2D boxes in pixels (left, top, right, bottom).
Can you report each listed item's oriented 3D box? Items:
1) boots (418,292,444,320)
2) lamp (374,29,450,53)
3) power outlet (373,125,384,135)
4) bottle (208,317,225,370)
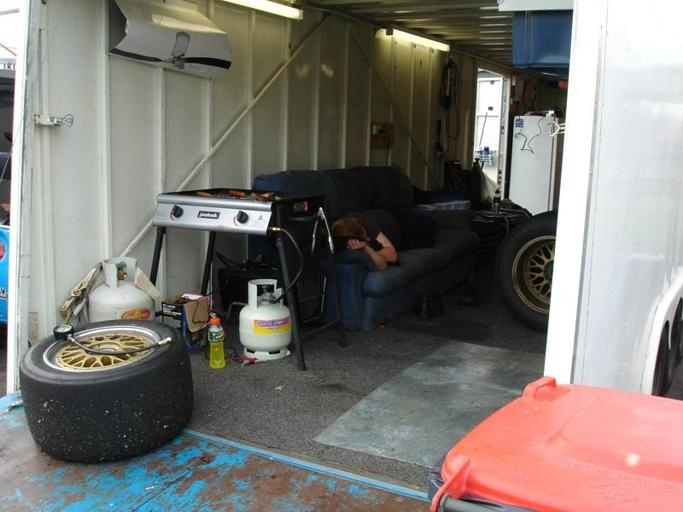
[{"bbox_3d":[0.836,0.438,4.853,0.319,0.209,0.163,-4,13,-22],"label":"boots"},{"bbox_3d":[1.001,-2.945,7.369,0.397,0.134,1.705,8,14,31],"label":"lamp"},{"bbox_3d":[0.484,-1.668,7.090,0.106,0.155,0.111,1,6,-29],"label":"power outlet"},{"bbox_3d":[-0.850,0.562,3.654,0.108,0.355,0.200,-2,12,-13],"label":"bottle"}]
